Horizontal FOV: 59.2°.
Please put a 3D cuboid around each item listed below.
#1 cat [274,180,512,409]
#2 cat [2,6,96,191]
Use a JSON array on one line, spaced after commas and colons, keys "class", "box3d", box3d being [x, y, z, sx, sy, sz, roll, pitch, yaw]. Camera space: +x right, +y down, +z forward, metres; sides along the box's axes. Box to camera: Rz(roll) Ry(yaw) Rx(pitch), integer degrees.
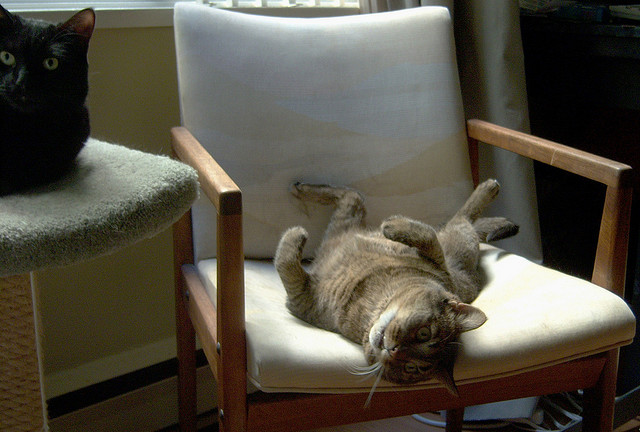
[{"class": "cat", "box3d": [0.137, 0.151, 1.260, 0.446, 0.281, 0.468, 5, 26, 13]}, {"class": "cat", "box3d": [-0.518, -0.226, 1.067, 0.212, 0.308, 0.108, -11, 27, -20]}]
